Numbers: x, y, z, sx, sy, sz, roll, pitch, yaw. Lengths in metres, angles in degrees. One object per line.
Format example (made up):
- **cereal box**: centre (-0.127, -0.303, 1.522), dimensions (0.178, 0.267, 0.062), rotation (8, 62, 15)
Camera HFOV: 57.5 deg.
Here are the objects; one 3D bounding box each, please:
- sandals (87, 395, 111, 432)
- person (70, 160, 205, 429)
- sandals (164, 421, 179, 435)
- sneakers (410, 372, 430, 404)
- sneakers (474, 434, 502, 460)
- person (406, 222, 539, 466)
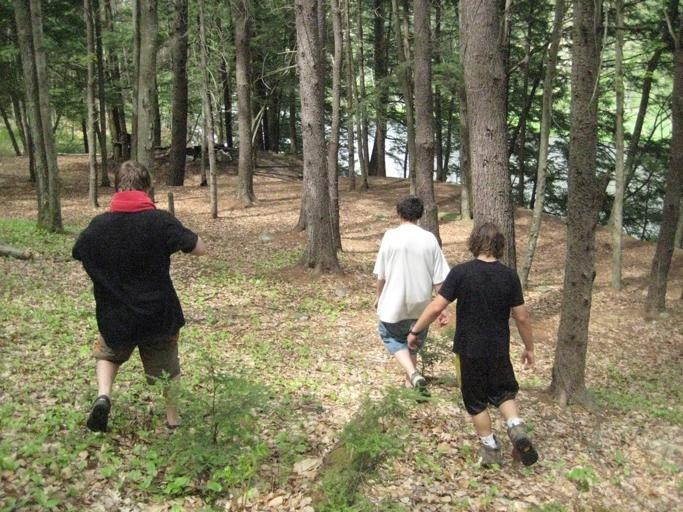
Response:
- **sandals**: centre (-2.866, 1.882, 7.382), dimensions (0.231, 0.496, 0.205), rotation (11, 16, -11)
- **person**: centre (-2.514, 0.513, 7.601), dimensions (1.294, 3.253, 0.694), rotation (-5, 13, -24)
- **sandals**: centre (-2.147, 2.154, 7.873), dimensions (0.206, 0.080, 0.191), rotation (-1, 1, -3)
- **sneakers**: centre (1.017, 1.707, 8.025), dimensions (0.169, 0.217, 0.490), rotation (0, 0, 3)
- **sneakers**: centre (1.843, 2.414, 7.742), dimensions (0.263, 0.378, 0.174), rotation (4, 12, 15)
- **person**: centre (1.768, 1.108, 7.709), dimensions (1.246, 2.925, 0.810), rotation (2, 12, 9)
